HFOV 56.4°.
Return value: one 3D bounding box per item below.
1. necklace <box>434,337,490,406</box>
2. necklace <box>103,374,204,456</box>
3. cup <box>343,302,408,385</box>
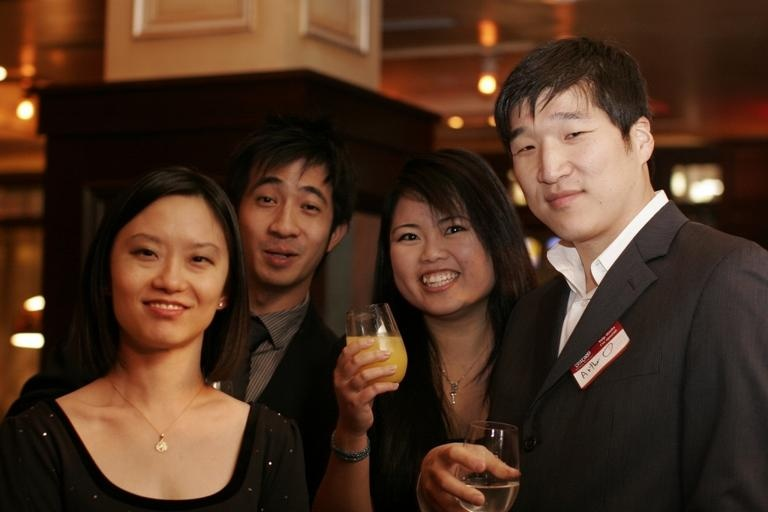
[{"bbox_3d":[0.347,0.485,3.173,0.195,0.324,0.082,-1,-4,4],"label":"necklace"},{"bbox_3d":[-0.718,0.521,2.273,0.334,0.093,0.212,2,39,-14],"label":"necklace"},{"bbox_3d":[-0.032,0.326,2.670,0.218,0.297,0.161,-1,-3,-4],"label":"cup"}]
